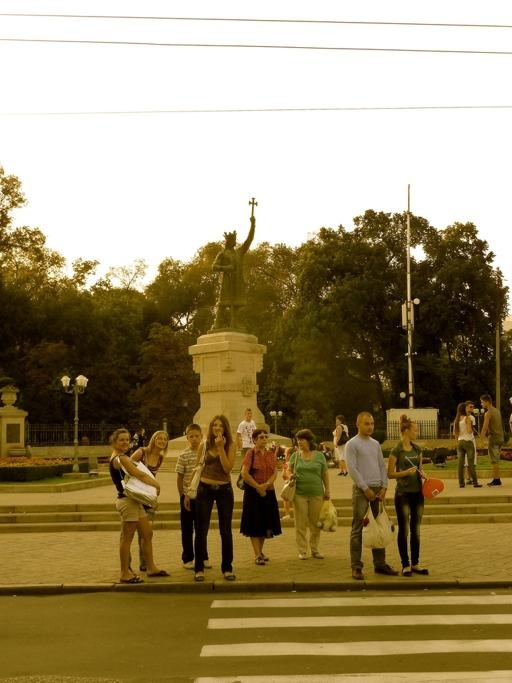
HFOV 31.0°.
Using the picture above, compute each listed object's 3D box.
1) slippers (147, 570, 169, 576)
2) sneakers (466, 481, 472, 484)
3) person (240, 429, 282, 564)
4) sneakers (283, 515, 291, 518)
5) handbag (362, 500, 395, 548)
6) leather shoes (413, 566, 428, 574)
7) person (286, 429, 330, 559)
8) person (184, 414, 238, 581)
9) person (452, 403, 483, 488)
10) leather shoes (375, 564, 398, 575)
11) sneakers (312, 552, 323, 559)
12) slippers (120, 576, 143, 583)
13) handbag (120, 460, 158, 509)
[{"bbox_3d":[-1.036,2.466,9.782,0.213,0.059,0.084,-2,0,0],"label":"slippers"},{"bbox_3d":[3.912,2.621,17.114,0.058,0.078,0.112,0,0,7],"label":"sneakers"},{"bbox_3d":[0.036,1.796,10.671,0.464,1.540,0.698,1,-6,0],"label":"person"},{"bbox_3d":[0.463,2.742,14.417,0.111,0.081,0.053,1,-6,14],"label":"sneakers"},{"bbox_3d":[1.241,1.920,9.540,0.297,0.482,0.406,0,-6,8],"label":"handbag"},{"bbox_3d":[1.696,2.404,9.707,0.185,0.076,0.063,-3,-2,34],"label":"leather shoes"},{"bbox_3d":[0.600,1.812,10.876,0.452,1.510,0.771,0,-6,2],"label":"person"},{"bbox_3d":[-0.425,1.631,9.641,0.422,1.681,0.395,1,-6,-4],"label":"person"},{"bbox_3d":[3.862,1.948,17.037,0.438,1.518,2.451,-1,-6,14],"label":"person"},{"bbox_3d":[1.350,2.389,9.678,0.242,0.108,0.085,-1,0,16],"label":"leather shoes"},{"bbox_3d":[0.717,2.540,10.912,0.138,0.062,0.050,0,2,6],"label":"sneakers"},{"bbox_3d":[-1.264,2.432,9.398,0.169,0.053,0.091,-1,-4,5],"label":"slippers"},{"bbox_3d":[-1.178,1.495,9.358,0.142,0.441,0.337,-32,-36,33],"label":"handbag"}]
